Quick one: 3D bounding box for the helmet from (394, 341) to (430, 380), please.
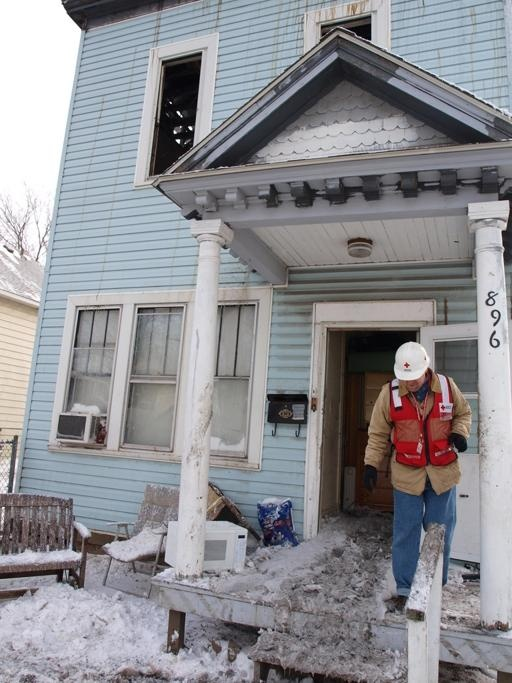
[{"bbox_3d":[0.994,0.121,3.712,0.183,0.260,0.146,2,-53,29],"label":"helmet"}]

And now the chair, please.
[{"bbox_3d":[-1.176,2.039,6.028,0.668,0.954,1.696,6,-7,-7],"label":"chair"}]

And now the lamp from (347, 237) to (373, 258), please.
[{"bbox_3d":[1.011,-0.921,5.715,0.244,0.130,0.372,3,-7,16],"label":"lamp"}]

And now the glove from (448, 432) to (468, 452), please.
[{"bbox_3d":[1.235,0.617,3.576,0.125,0.051,0.092,41,-22,32],"label":"glove"}]

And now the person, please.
[{"bbox_3d":[1.006,0.947,3.707,0.622,1.551,0.456,2,-8,19],"label":"person"}]

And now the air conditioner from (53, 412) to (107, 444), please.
[{"bbox_3d":[-2.256,1.128,7.521,0.703,0.471,0.383,-1,-8,19],"label":"air conditioner"}]
